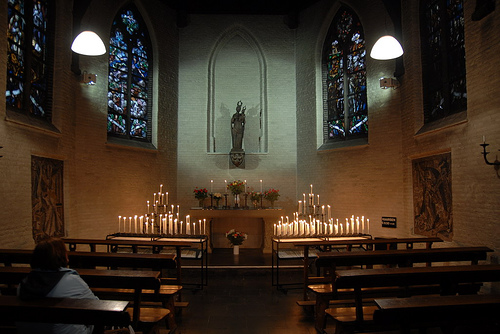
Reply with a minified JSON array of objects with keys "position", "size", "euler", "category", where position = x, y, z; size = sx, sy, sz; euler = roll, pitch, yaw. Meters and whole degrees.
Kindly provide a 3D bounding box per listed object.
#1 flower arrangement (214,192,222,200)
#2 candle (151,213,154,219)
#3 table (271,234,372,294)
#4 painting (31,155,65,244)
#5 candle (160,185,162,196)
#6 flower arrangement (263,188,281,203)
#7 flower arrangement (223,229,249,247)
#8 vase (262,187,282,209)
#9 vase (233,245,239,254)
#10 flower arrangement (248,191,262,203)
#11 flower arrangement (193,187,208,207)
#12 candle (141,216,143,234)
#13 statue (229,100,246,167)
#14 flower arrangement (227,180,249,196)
[{"position":[-1.170,1.029,15.088],"size":[0.211,0.204,0.208],"euler":[0,4,16],"category":"flower arrangement"},{"position":[-3.402,1.703,14.684],"size":[0.055,0.187,0.070],"euler":[1,-6,-18],"category":"candle"},{"position":[1.714,2.495,10.889],"size":[2.588,1.157,1.332],"euler":[-12,-17,27],"category":"table"},{"position":[-5.436,0.850,11.378],"size":[1.894,2.138,0.076],"euler":[-3,-2,40],"category":"painting"},{"position":[-3.211,0.826,15.082],"size":[0.064,0.387,0.197],"euler":[1,-6,-16],"category":"candle"},{"position":[0.775,1.010,15.187],"size":[0.509,0.458,0.503],"euler":[-1,-2,8],"category":"flower arrangement"},{"position":[-0.485,2.359,14.107],"size":[0.662,0.428,0.611],"euler":[1,-10,-3],"category":"flower arrangement"},{"position":[0.763,1.102,15.286],"size":[0.687,0.682,0.657],"euler":[-2,-8,-3],"category":"vase"},{"position":[-0.463,2.781,14.224],"size":[0.273,0.302,0.270],"euler":[-1,-4,13],"category":"vase"},{"position":[0.168,1.054,15.112],"size":[0.460,0.312,0.352],"euler":[1,2,21],"category":"flower arrangement"},{"position":[-1.771,1.107,15.355],"size":[0.576,0.644,0.564],"euler":[0,-4,-5],"category":"flower arrangement"},{"position":[-3.146,1.676,12.207],"size":[0.076,0.073,0.716],"euler":[-8,-43,-21],"category":"candle"},{"position":[-0.469,-1.272,15.732],"size":[0.525,2.443,0.429],"euler":[2,6,0],"category":"statue"},{"position":[-0.490,0.733,15.193],"size":[0.503,0.407,0.484],"euler":[-2,-8,26],"category":"flower arrangement"}]
